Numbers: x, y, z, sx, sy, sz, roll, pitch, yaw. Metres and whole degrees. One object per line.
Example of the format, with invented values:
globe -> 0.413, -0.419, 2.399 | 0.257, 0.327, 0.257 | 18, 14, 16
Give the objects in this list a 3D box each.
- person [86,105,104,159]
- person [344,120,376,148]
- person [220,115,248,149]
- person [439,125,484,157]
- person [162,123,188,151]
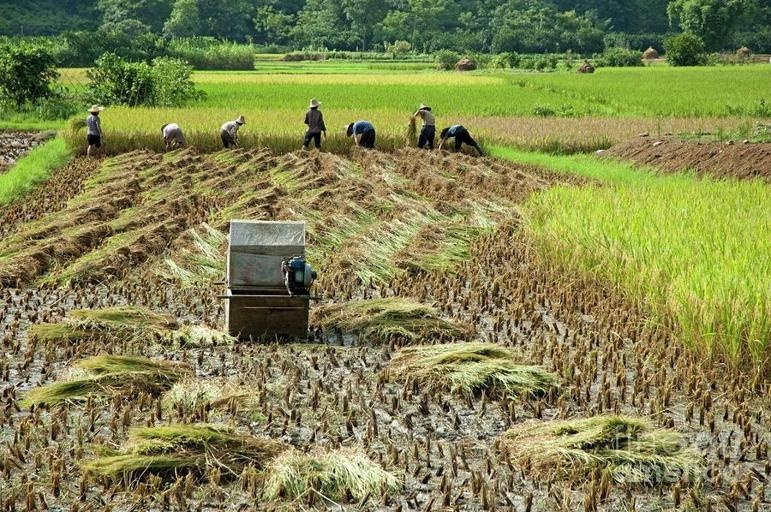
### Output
person -> -6.400, -2.743, 23.767 | 0.323, 1.202, 0.958 | -2, 19, -15
person -> -0.579, -2.694, 24.178 | 0.588, 0.744, 0.618 | -16, 25, -30
person -> -3.388, -2.638, 23.950 | 0.546, 0.852, 0.392 | 6, 16, -18
person -> 1.666, -2.487, 23.677 | 0.903, 0.698, 1.002 | 18, 24, 36
person -> -4.644, -2.585, 23.777 | 0.488, 0.680, 1.193 | -1, 19, -13
